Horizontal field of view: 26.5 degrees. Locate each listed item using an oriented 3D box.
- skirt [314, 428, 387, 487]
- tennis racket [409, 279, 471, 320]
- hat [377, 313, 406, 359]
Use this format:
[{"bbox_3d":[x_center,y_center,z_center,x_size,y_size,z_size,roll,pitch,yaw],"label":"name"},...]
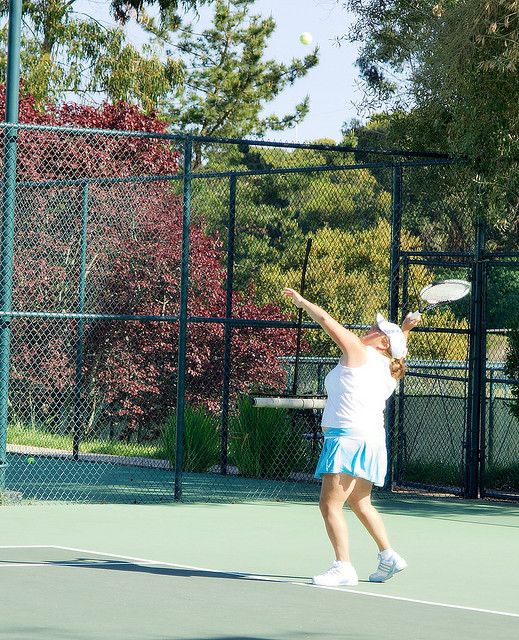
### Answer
[{"bbox_3d":[0.510,0.761,6.651,0.327,0.346,0.274,7,0,-10],"label":"skirt"},{"bbox_3d":[1.234,-0.220,7.658,0.237,0.071,0.443,16,-29,-19],"label":"tennis racket"},{"bbox_3d":[0.811,0.090,6.867,0.081,0.289,0.155,-12,-1,18],"label":"hat"}]
